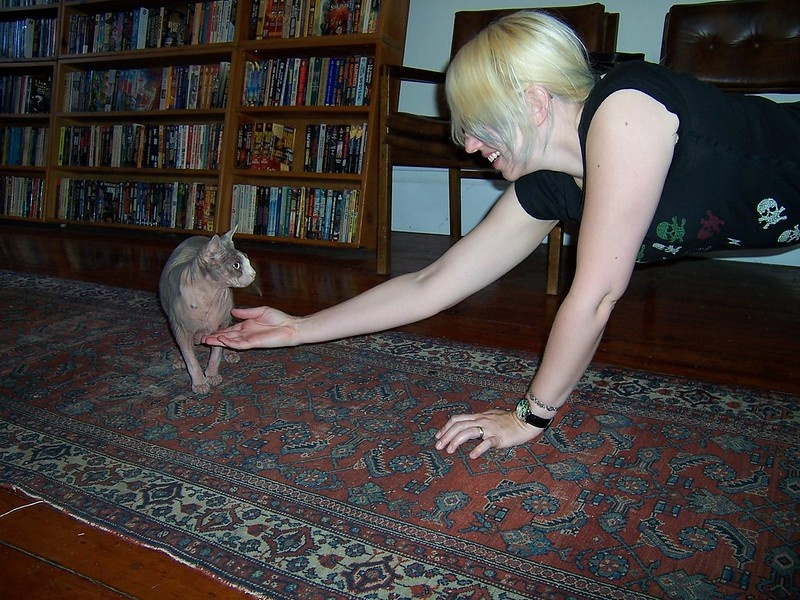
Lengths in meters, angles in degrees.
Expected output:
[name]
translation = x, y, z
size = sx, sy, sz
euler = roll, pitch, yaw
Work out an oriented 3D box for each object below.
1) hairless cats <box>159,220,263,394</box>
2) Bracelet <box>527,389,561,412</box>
[hairless cats]
translation = -0.537, -0.003, 1.560
size = 0.293, 0.387, 0.644
euler = -2, 13, -16
[Bracelet]
translation = 0.277, 0.193, 1.068
size = 0.057, 0.013, 0.048
euler = 25, -9, 2
